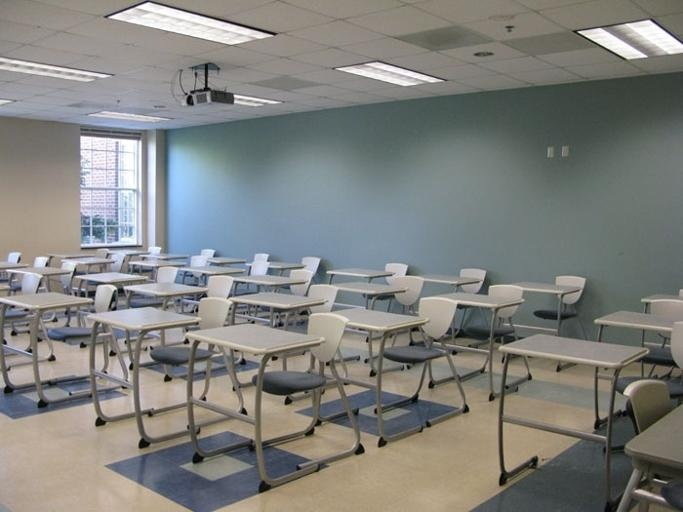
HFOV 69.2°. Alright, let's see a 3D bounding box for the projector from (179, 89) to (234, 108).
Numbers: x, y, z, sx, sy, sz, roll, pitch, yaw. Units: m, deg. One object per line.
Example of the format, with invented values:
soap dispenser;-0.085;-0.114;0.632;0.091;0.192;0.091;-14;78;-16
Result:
projector;-1.637;-2.040;6.459;0.458;0.160;0.452;-1;1;24
